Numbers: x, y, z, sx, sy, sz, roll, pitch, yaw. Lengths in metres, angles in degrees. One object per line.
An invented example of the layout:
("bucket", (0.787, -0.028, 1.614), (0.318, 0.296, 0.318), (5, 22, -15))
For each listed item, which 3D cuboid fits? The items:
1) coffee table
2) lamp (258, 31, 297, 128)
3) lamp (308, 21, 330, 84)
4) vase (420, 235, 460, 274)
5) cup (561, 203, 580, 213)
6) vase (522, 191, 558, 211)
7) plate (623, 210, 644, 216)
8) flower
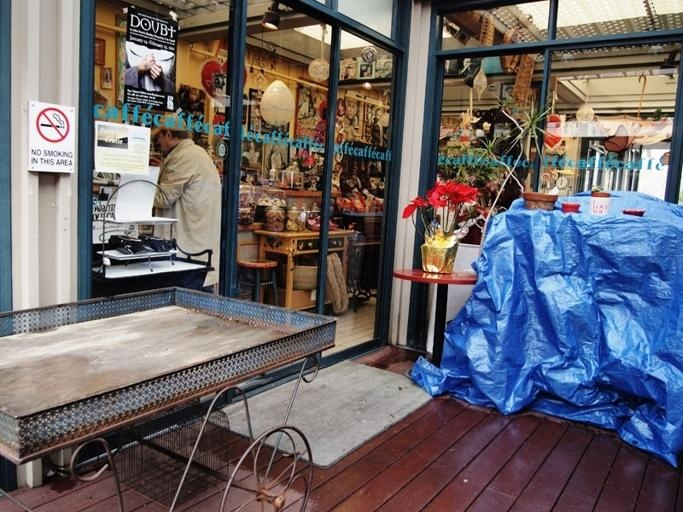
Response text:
("coffee table", (0.750, 0.518, 4.348), (0.733, 0.863, 0.765), (11, 11, 41))
("lamp", (-0.490, -1.186, 4.001), (0.136, 0.382, 0.400), (7, 11, 20))
("lamp", (-0.180, -1.678, 4.289), (0.190, 0.469, 0.047), (-4, 13, -34))
("vase", (0.785, -0.001, 4.197), (0.298, 0.303, 0.280), (5, -4, -43))
("cup", (1.748, -0.367, 3.937), (0.127, 0.068, 0.081), (6, 11, 13))
("vase", (1.543, -0.419, 4.004), (0.264, 0.123, 0.212), (5, 11, 7))
("plate", (2.137, -0.317, 3.753), (0.156, 0.043, 0.128), (6, 11, 13))
("flower", (0.901, -0.433, 4.505), (0.671, 0.667, 0.556), (9, 9, 35))
